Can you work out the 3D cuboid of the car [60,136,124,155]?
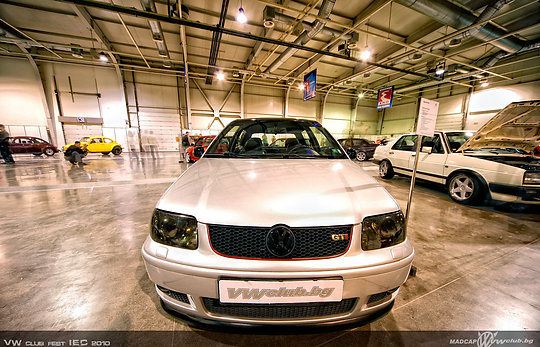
[{"bbox_3d":[-9.413,-1.482,15.328,1.502,0.962,2.606,2,1,41],"label":"car"}]

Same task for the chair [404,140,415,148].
[{"bbox_3d":[4.431,-0.947,9.041,0.238,0.135,0.240,-25,22,-31],"label":"chair"}]

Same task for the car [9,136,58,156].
[{"bbox_3d":[-11.922,-1.363,14.575,0.968,0.585,1.943,4,0,43],"label":"car"}]

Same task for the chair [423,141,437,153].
[{"bbox_3d":[4.786,-0.792,8.539,0.387,0.206,0.380,7,30,3],"label":"chair"}]

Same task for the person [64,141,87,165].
[{"bbox_3d":[-8.176,-0.854,11.985,0.728,0.949,0.823,-4,10,-19],"label":"person"}]
